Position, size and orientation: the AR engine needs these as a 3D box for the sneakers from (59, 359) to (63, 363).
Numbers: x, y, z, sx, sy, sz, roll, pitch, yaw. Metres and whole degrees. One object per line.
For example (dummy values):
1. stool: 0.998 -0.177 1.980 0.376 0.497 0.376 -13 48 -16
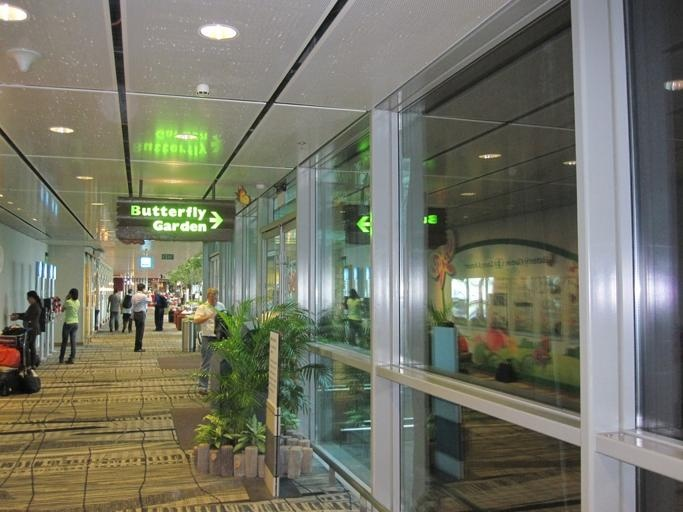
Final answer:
1. sneakers: -7.033 2.638 12.986 0.046 0.107 0.143 5 -15 -30
